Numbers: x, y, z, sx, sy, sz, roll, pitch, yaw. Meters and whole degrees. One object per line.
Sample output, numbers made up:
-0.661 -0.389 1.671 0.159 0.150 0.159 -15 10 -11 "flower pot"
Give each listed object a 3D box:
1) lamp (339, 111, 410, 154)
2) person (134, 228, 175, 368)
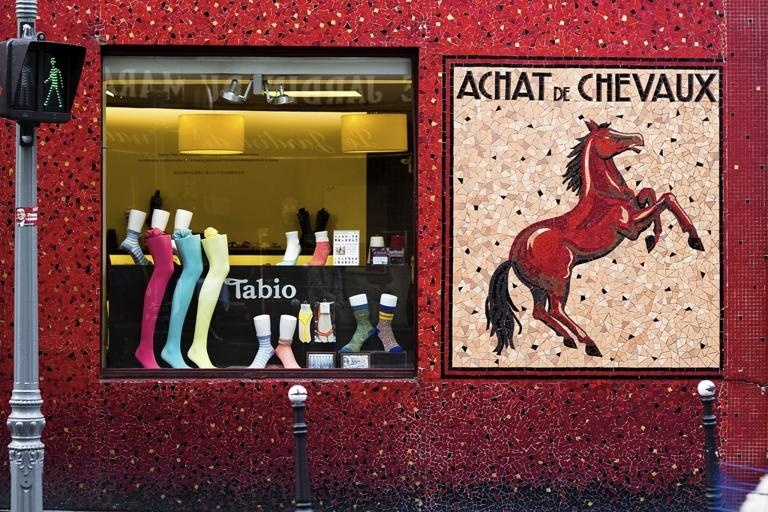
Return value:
-0.089 -1.348 11.855 0.782 0.476 0.435 1 4 11 "lamp"
-2.476 0.446 11.857 0.354 1.485 0.162 1 -2 8 "person"
